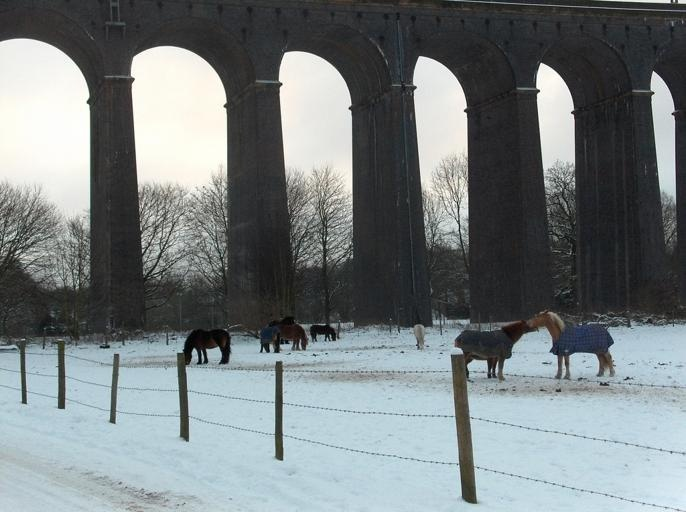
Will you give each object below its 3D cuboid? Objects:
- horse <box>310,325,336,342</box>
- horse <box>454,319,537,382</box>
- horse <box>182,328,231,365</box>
[{"bbox_3d":[-0.877,3.724,42.808,1.196,0.751,2.107,0,-4,0],"label":"horse"},{"bbox_3d":[4.330,2.693,25.256,1.652,1.682,2.409,-2,-4,30],"label":"horse"},{"bbox_3d":[-4.708,3.244,30.957,1.926,1.259,0.561,-8,-13,20],"label":"horse"}]
